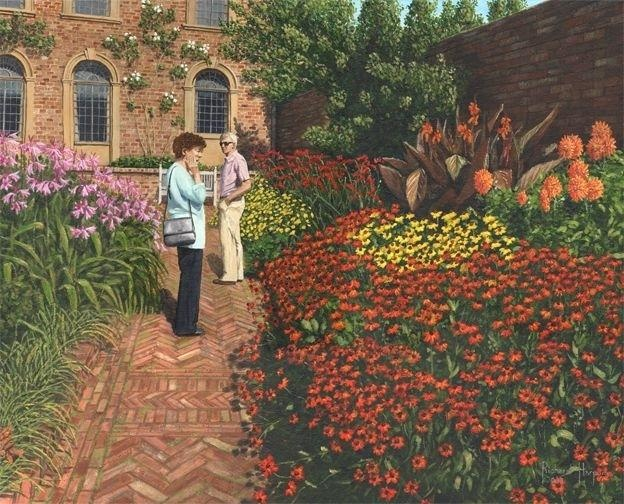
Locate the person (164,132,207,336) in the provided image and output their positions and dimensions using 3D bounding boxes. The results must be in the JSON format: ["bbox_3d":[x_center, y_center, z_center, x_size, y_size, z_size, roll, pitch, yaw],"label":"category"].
[{"bbox_3d":[-1.266,-0.142,7.099,0.394,2.060,0.377,-1,9,-9],"label":"person"}]

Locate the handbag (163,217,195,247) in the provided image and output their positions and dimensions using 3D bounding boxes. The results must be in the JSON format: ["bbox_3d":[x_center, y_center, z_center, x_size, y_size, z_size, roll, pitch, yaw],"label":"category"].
[{"bbox_3d":[-1.297,-0.197,6.936,0.230,0.250,0.112,-3,-7,0],"label":"handbag"}]
